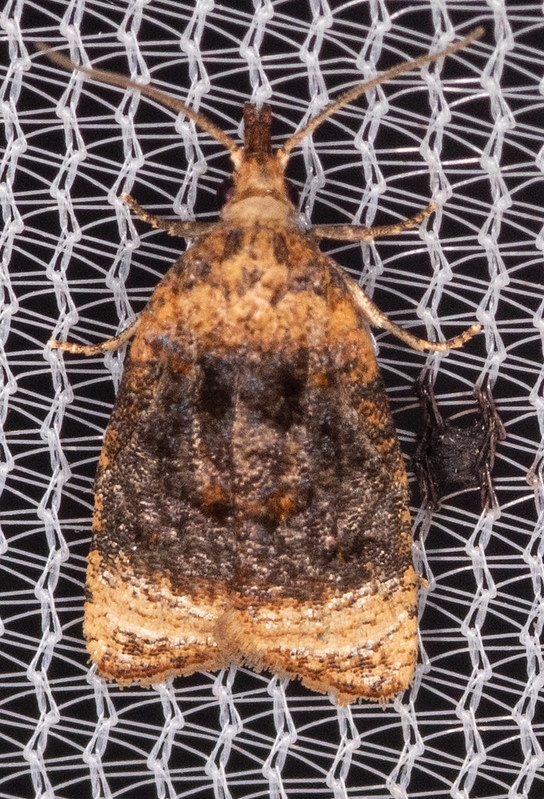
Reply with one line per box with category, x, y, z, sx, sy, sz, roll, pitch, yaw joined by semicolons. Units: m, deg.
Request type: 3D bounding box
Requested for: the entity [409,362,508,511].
entity;0.449;0.098;4.041;0.245;0.126;0.335;-6;84;10
